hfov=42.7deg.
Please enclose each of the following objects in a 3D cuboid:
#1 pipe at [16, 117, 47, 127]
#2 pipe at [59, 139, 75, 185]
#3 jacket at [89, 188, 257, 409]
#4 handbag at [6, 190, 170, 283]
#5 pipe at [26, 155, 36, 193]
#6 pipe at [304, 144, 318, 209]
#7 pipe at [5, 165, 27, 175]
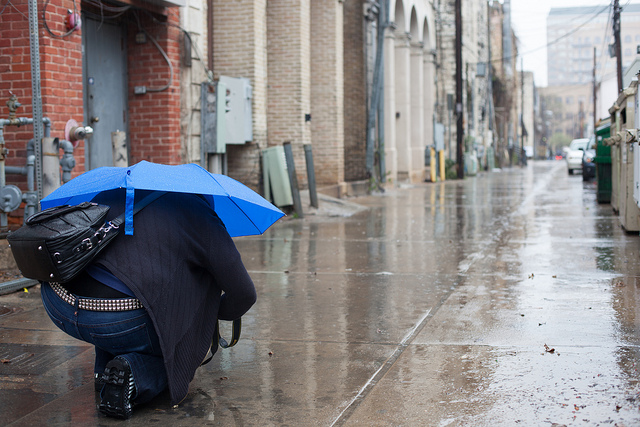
[{"bbox_3d":[-4.005,-1.297,11.429,0.396,0.098,0.479,-4,11,-19],"label":"pipe"},{"bbox_3d":[-3.619,-0.722,11.686,0.235,0.660,0.188,3,4,8],"label":"pipe"},{"bbox_3d":[-1.539,0.665,7.872,1.858,2.015,1.083,5,9,24],"label":"jacket"},{"bbox_3d":[-2.140,0.185,7.236,0.982,0.371,0.542,-29,22,-36],"label":"handbag"},{"bbox_3d":[-3.992,-0.567,11.366,0.137,0.510,0.225,-6,11,-25],"label":"pipe"},{"bbox_3d":[-0.223,-0.956,18.971,0.224,1.386,0.213,-4,5,32],"label":"pipe"},{"bbox_3d":[-4.290,-0.626,11.615,0.308,0.087,0.074,6,-10,4],"label":"pipe"}]
